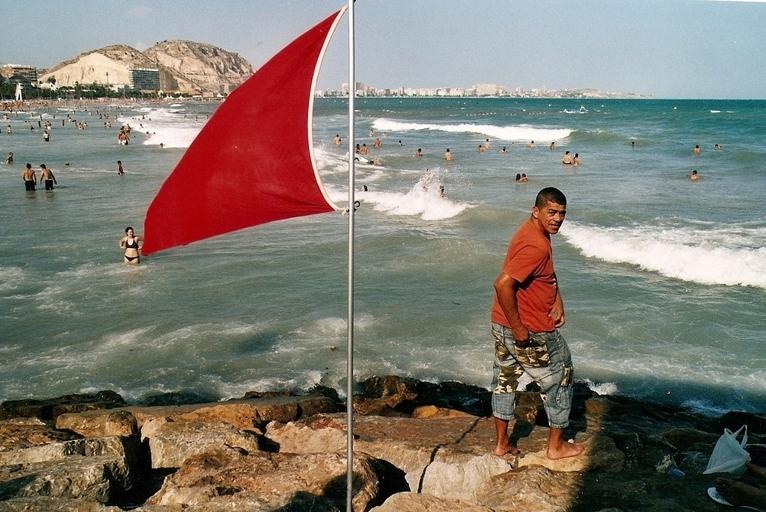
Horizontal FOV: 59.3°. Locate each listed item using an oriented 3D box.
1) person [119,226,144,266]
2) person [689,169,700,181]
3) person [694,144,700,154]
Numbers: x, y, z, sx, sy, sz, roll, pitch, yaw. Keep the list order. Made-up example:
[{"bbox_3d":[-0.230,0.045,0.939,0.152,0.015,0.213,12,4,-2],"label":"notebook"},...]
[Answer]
[{"bbox_3d":[-6.990,-0.323,18.517,0.473,1.008,0.829,-5,12,-18],"label":"person"},{"bbox_3d":[14.492,-3.791,31.358,0.417,0.401,1.543,4,12,25],"label":"person"},{"bbox_3d":[19.142,-6.496,41.081,0.426,0.545,1.464,4,12,24],"label":"person"}]
